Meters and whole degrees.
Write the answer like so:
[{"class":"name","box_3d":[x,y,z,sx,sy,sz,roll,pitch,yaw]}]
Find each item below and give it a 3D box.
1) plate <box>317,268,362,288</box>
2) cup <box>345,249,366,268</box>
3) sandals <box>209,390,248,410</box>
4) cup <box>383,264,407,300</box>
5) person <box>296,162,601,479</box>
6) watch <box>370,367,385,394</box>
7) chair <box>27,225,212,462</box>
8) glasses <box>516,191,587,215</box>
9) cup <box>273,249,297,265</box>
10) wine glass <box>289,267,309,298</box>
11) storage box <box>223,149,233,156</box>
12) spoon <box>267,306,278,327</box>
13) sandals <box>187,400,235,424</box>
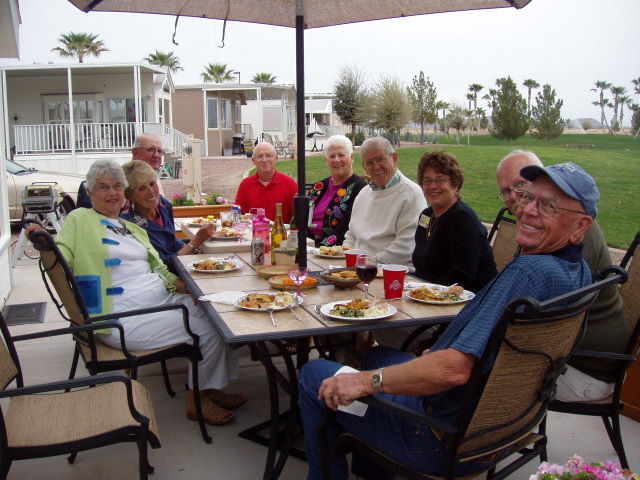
[{"class":"plate","box_3d":[0.119,0.215,2.474,0.136,0.042,0.136,5,11,30]},{"class":"cup","box_3d":[0.204,0.110,2.544,0.115,0.078,0.110,0,5,0]},{"class":"sandals","box_3d":[-0.650,1.126,3.062,0.294,0.112,0.106,7,16,20]},{"class":"cup","box_3d":[0.388,0.214,2.284,0.169,0.162,0.170,0,4,0]},{"class":"person","box_3d":[0.545,0.269,2.582,1.450,2.070,1.114,7,4,20]},{"class":"watch","box_3d":[0.210,0.516,1.591,0.053,0.076,0.078,1,-13,15]},{"class":"chair","box_3d":[-1.196,0.433,3.281,1.402,1.857,1.149,-5,13,-21]},{"class":"glasses","box_3d":[0.807,-0.132,1.570,0.127,0.035,0.119,14,10,-29]},{"class":"cup","box_3d":[-0.239,0.116,2.930,0.104,0.087,0.124,0,0,6]},{"class":"wine glass","box_3d":[-0.130,0.239,2.351,0.128,0.185,0.123,-1,0,-6]},{"class":"storage box","box_3d":[-5.892,-5.606,27.586,0.452,0.329,0.450,1,9,7]},{"class":"spoon","box_3d":[-0.220,0.363,2.001,0.026,0.015,0.138,6,12,-13]},{"class":"sandals","box_3d":[-0.734,1.145,2.884,0.292,0.117,0.149,4,13,19]}]
